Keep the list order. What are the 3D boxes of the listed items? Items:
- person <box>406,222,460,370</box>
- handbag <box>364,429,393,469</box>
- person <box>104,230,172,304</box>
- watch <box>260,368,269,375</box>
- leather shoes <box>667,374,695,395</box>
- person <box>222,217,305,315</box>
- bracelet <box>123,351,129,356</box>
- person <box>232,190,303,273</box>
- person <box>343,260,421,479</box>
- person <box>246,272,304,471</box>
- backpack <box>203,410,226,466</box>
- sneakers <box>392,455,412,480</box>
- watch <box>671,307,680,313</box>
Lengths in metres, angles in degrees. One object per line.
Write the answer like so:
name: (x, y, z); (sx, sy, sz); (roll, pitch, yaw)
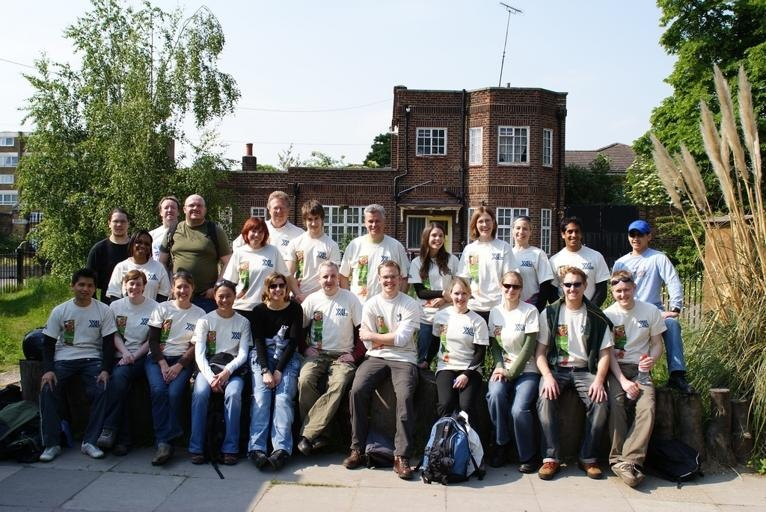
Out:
person: (0.773, 0.701, 10.775); (0.877, 2.360, 0.659); (-2, 11, -22)
handbag: (-0.043, 2.487, 9.467); (0.368, 0.428, 0.241); (1, -1, 1)
person: (-3.451, 0.203, 10.422); (0.958, 1.155, 0.696); (-1, 4, -30)
watch: (-1.552, 1.498, 9.588); (0.106, 0.073, 0.071); (1, -1, -3)
leather shoes: (3.909, 1.656, 9.556); (0.179, 0.242, 0.335); (1, -1, -14)
person: (-1.673, 0.179, 10.354); (1.249, 1.662, 0.589); (2, -11, -11)
bracelet: (-3.468, 1.310, 9.881); (0.102, 0.064, 0.091); (1, -1, -24)
person: (-1.652, -0.391, 10.918); (1.342, 1.069, 0.535); (7, -14, -21)
person: (0.015, 1.397, 9.603); (0.910, 2.683, 0.831); (1, -1, 3)
person: (-1.433, 1.520, 9.638); (0.702, 2.402, 1.024); (12, -31, -28)
backpack: (-2.177, 2.330, 9.442); (0.183, 0.693, 0.369); (2, 0, -8)
sneakers: (0.251, 2.647, 9.208); (0.262, 0.265, 0.242); (1, -1, 7)
watch: (4.050, 0.744, 10.114); (0.098, 0.070, 0.096); (1, -1, -41)
